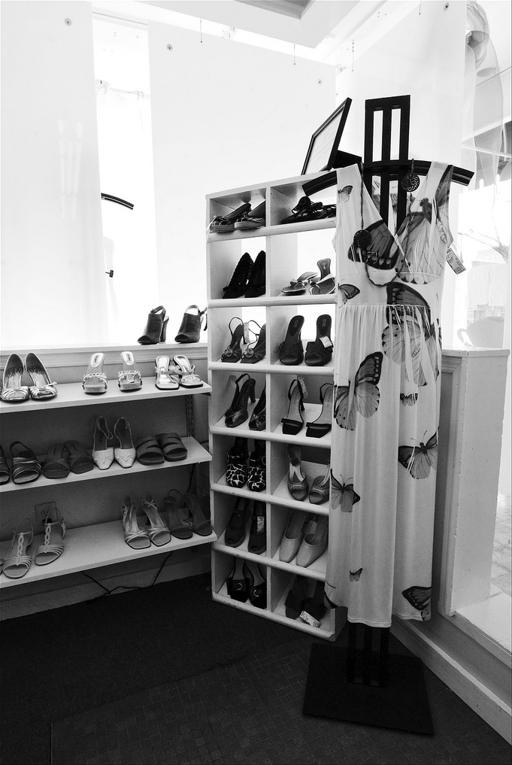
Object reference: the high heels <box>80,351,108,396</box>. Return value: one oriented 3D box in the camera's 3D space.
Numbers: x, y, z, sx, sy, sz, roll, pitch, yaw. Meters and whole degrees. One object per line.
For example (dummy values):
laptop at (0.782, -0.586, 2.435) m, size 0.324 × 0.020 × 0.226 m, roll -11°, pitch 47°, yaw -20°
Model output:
high heels at (-0.636, -0.052, 2.258) m, size 0.070 × 0.084 × 0.260 m, roll -2°, pitch 31°, yaw -4°

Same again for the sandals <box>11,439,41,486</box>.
sandals at (-0.895, 0.292, 2.185) m, size 0.087 × 0.075 × 0.257 m, roll -10°, pitch 16°, yaw -21°

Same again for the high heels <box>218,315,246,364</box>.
high heels at (-0.088, -0.176, 2.439) m, size 0.065 × 0.113 × 0.236 m, roll -1°, pitch 24°, yaw 11°

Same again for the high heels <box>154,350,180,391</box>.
high heels at (-0.375, -0.047, 2.356) m, size 0.064 × 0.039 × 0.211 m, roll -1°, pitch 30°, yaw -9°

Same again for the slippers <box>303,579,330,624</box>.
slippers at (0.247, 0.896, 2.281) m, size 0.069 × 0.089 × 0.227 m, roll 1°, pitch 24°, yaw 16°

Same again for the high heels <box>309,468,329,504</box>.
high heels at (0.252, 0.400, 2.255) m, size 0.050 × 0.040 × 0.162 m, roll -13°, pitch 28°, yaw 27°

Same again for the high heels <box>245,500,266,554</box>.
high heels at (0.000, 0.610, 2.415) m, size 0.054 × 0.053 × 0.192 m, roll -13°, pitch 53°, yaw 31°

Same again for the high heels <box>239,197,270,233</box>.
high heels at (-0.010, -0.627, 2.142) m, size 0.154 × 0.071 × 0.055 m, roll -20°, pitch 13°, yaw -12°

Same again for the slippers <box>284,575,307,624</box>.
slippers at (0.163, 0.883, 2.316) m, size 0.050 × 0.072 × 0.184 m, roll -1°, pitch 25°, yaw 15°

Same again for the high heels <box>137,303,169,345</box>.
high heels at (-0.441, -0.252, 2.544) m, size 0.073 × 0.145 × 0.240 m, roll 7°, pitch 20°, yaw 14°

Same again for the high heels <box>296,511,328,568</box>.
high heels at (0.221, 0.618, 2.289) m, size 0.074 × 0.053 × 0.240 m, roll -8°, pitch 31°, yaw 24°

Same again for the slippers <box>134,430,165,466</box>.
slippers at (-0.447, 0.278, 2.369) m, size 0.074 × 0.074 × 0.217 m, roll -2°, pitch 9°, yaw -10°

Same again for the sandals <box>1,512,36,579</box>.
sandals at (-0.916, 0.647, 2.210) m, size 0.073 × 0.066 × 0.250 m, roll 0°, pitch 16°, yaw -8°

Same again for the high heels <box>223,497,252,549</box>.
high heels at (-0.078, 0.630, 2.529) m, size 0.070 × 0.074 × 0.228 m, roll -6°, pitch 42°, yaw 25°

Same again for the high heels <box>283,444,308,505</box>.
high heels at (0.172, 0.365, 2.333) m, size 0.090 × 0.145 × 0.258 m, roll 0°, pitch 11°, yaw 3°

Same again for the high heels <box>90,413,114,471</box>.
high heels at (-0.635, 0.253, 2.360) m, size 0.064 × 0.051 × 0.286 m, roll 0°, pitch 38°, yaw -15°

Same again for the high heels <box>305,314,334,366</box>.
high heels at (0.246, -0.166, 2.217) m, size 0.106 × 0.170 × 0.242 m, roll 1°, pitch 11°, yaw 10°

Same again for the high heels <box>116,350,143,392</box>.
high heels at (-0.515, -0.050, 2.309) m, size 0.071 × 0.090 × 0.228 m, roll -4°, pitch 20°, yaw -8°

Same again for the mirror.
mirror at (0.247, -0.836, 1.968) m, size 0.171 × 0.248 × 0.428 m, roll -2°, pitch 11°, yaw -6°

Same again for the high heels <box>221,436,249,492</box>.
high heels at (-0.077, 0.357, 2.499) m, size 0.065 × 0.075 × 0.238 m, roll -3°, pitch 45°, yaw 9°

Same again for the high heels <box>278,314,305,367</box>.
high heels at (0.137, -0.169, 2.258) m, size 0.100 × 0.171 × 0.247 m, roll 0°, pitch 11°, yaw 3°

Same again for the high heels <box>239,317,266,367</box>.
high heels at (-0.006, -0.147, 2.446) m, size 0.079 × 0.067 × 0.242 m, roll -6°, pitch 35°, yaw 7°

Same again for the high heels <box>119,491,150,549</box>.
high heels at (-0.502, 0.592, 2.424) m, size 0.079 × 0.104 × 0.257 m, roll -3°, pitch 14°, yaw -13°

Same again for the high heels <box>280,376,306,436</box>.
high heels at (0.157, 0.096, 2.328) m, size 0.062 × 0.047 × 0.270 m, roll -2°, pitch 40°, yaw 13°

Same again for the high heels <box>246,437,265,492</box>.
high heels at (0.001, 0.358, 2.427) m, size 0.055 × 0.069 × 0.205 m, roll -3°, pitch 34°, yaw 8°

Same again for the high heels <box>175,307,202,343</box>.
high heels at (-0.297, -0.268, 2.656) m, size 0.116 × 0.173 × 0.246 m, roll 2°, pitch 12°, yaw 14°
